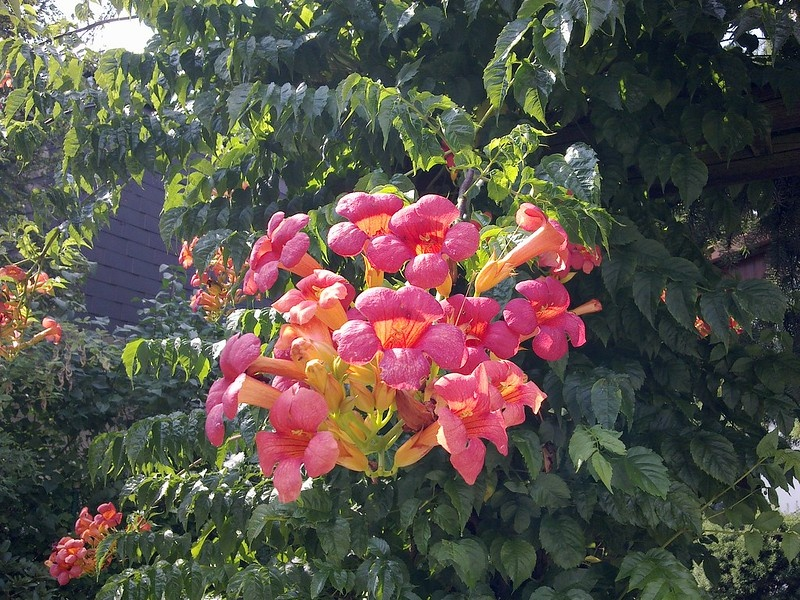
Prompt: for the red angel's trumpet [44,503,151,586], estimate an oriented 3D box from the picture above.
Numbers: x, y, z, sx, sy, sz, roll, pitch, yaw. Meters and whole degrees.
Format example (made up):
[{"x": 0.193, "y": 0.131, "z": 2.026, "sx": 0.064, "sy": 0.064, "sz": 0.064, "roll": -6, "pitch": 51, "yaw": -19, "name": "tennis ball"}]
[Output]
[{"x": -2.051, "y": 1.575, "z": 5.827, "sx": 0.350, "sy": 0.441, "sz": 0.850, "roll": 13, "pitch": -31, "yaw": -21, "name": "red angel's trumpet"}]
